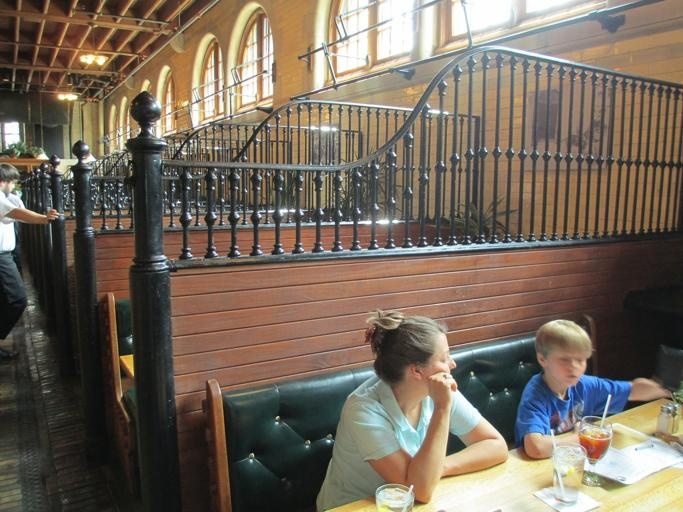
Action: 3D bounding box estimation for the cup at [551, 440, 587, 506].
[{"bbox_3d":[0.830,0.789,1.853,0.097,0.199,0.125,0,12,-2],"label":"cup"}]

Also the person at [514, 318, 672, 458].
[{"bbox_3d":[1.277,0.679,2.594,0.492,0.865,0.271,-20,21,-27],"label":"person"}]
